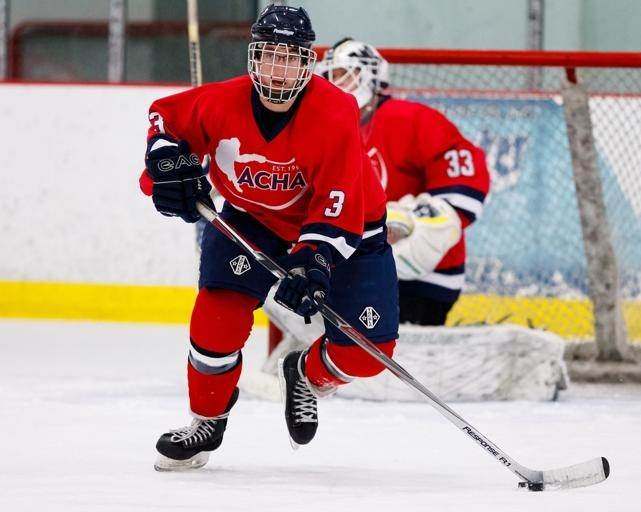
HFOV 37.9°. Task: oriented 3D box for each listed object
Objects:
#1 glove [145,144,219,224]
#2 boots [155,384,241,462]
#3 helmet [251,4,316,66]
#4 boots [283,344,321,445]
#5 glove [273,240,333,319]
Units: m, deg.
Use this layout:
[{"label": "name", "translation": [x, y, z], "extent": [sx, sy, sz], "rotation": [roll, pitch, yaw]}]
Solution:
[{"label": "glove", "translation": [-0.504, -0.258, 3.238], "extent": [0.208, 0.287, 0.104], "rotation": [-9, 8, -3]}, {"label": "boots", "translation": [-0.475, 0.642, 3.394], "extent": [0.115, 0.249, 0.355], "rotation": [15, 0, 30]}, {"label": "helmet", "translation": [-0.127, -0.775, 3.205], "extent": [0.174, 0.198, 0.230], "rotation": [6, -4, -3]}, {"label": "boots", "translation": [-0.092, 0.519, 3.542], "extent": [0.112, 0.365, 0.143], "rotation": [-3, -16, -19]}, {"label": "glove", "translation": [-0.055, 0.081, 3.185], "extent": [0.221, 0.241, 0.091], "rotation": [38, -12, -10]}]
